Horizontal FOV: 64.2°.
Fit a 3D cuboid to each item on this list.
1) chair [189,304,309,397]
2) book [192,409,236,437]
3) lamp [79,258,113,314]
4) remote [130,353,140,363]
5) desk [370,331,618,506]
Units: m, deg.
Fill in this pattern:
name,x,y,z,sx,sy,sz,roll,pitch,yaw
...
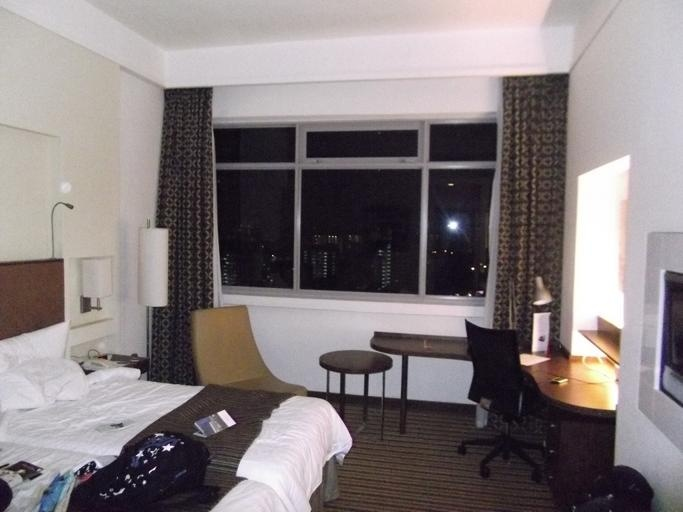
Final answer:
name,x,y,z,sx,sy,sz,roll,pitch,yaw
chair,-0.899,0.893,5.254,0.892,0.827,0.809,-10,-11,43
book,-0.916,1.211,3.908,0.323,0.036,0.221,-11,18,-44
lamp,-2.290,0.294,5.094,0.309,0.496,0.319,-1,1,37
remote,-1.992,0.986,5.260,0.064,0.107,0.070,-1,3,-8
desk,1.404,1.240,4.577,1.463,0.667,1.232,1,6,12
